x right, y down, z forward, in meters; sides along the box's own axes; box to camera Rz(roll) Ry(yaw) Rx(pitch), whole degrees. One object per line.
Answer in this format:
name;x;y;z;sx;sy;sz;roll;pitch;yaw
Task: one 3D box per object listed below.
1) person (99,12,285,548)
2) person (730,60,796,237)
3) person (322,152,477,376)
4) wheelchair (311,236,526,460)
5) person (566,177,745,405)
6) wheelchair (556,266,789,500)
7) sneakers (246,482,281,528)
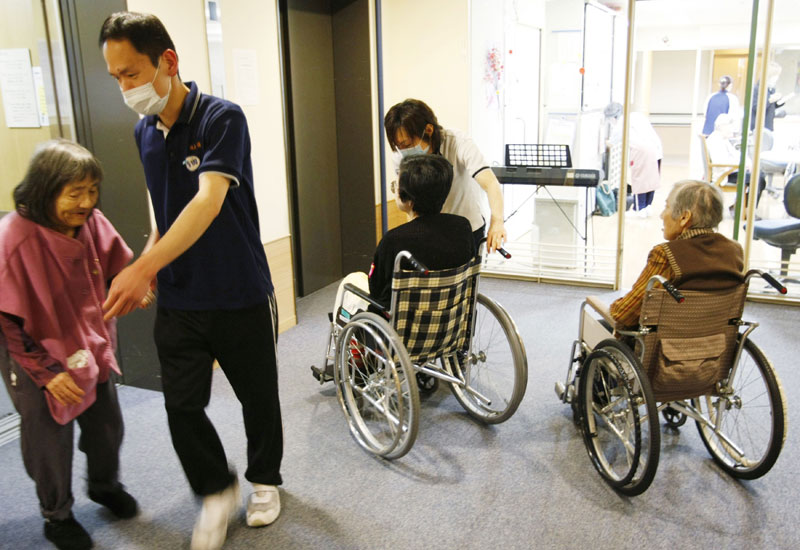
person;-0.838;0.101;2.503;0.591;2.291;0.706;-5;16;-13
person;3.112;-1.186;4.942;0.390;1.190;0.141;-6;16;-18
person;0.123;-0.182;3.119;0.629;0.880;0.315;-2;16;-5
wheelchair;0.051;0.337;3.528;1.362;1.250;1.478;1;12;9
person;1.276;0.200;3.046;0.827;1.354;0.485;8;18;31
wheelchair;1.430;0.482;3.265;1.168;1.249;1.478;3;14;21
sneakers;-0.649;1.097;2.787;0.096;0.116;0.270;0;-7;-2
